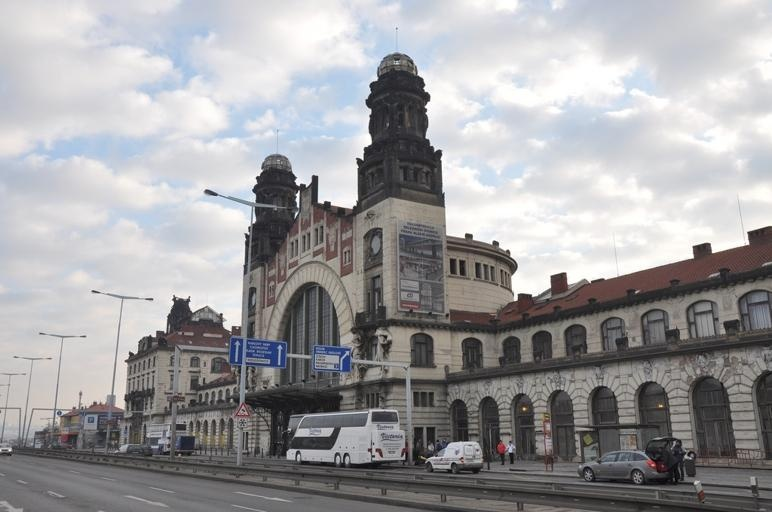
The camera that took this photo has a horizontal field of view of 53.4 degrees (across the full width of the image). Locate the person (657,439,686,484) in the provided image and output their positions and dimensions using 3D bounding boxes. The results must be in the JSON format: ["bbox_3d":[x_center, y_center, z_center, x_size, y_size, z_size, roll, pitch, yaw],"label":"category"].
[{"bbox_3d":[19.359,13.949,51.952,1.353,1.056,2.951,-9,23,25],"label":"person"}]

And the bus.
[{"bbox_3d":[-4.154,17.337,72.446,3.708,5.112,13.750,16,-25,-41],"label":"bus"}]

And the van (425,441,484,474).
[{"bbox_3d":[5.914,16.699,63.933,2.555,2.030,4.360,12,-17,-36],"label":"van"}]
